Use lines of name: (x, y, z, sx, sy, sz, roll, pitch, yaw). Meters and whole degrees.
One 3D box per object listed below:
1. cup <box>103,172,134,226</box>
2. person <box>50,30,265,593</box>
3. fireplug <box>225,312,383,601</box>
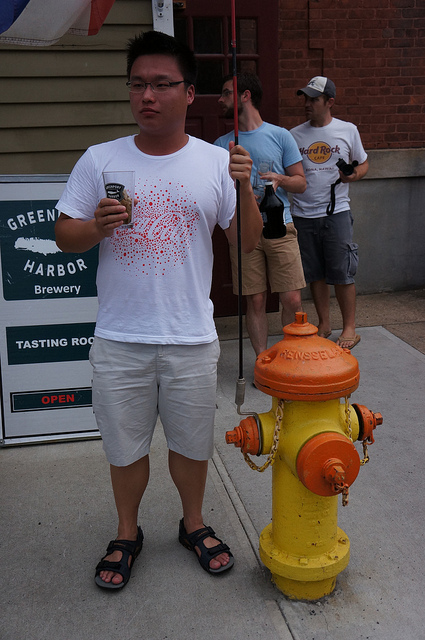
cup: (-0.275, -0.362, 1.695, 0.091, 0.173, 0.107, -3, 4, -2)
person: (-0.158, 0.014, 2.003, 0.643, 1.905, 0.597, -2, 8, -8)
fireplug: (0.318, 0.469, 2.000, 0.452, 1.003, 0.436, 5, 13, 33)
